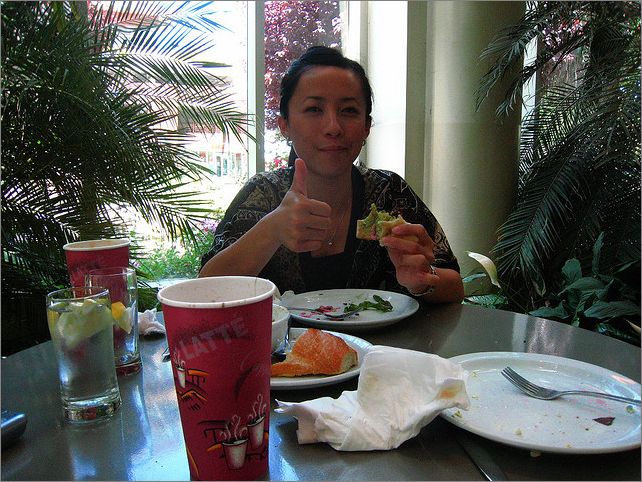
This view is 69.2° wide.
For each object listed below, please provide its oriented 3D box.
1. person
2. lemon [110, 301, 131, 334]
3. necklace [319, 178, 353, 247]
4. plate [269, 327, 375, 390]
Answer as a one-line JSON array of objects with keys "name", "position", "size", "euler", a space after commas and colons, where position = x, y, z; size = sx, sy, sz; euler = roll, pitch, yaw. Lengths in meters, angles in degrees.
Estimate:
[{"name": "person", "position": [0.014, -0.273, 1.998], "size": [1.086, 1.232, 0.890], "euler": [-5, 8, -16]}, {"name": "lemon", "position": [-0.513, 0.198, 1.205], "size": [0.030, 0.066, 0.046], "euler": [-21, 24, -9]}, {"name": "necklace", "position": [0.082, -0.139, 2.251], "size": [0.168, 0.327, 0.073], "euler": [0, -5, 7]}, {"name": "plate", "position": [-0.007, 0.296, 1.136], "size": [0.155, 0.028, 0.159], "euler": [2, 11, 22]}]
